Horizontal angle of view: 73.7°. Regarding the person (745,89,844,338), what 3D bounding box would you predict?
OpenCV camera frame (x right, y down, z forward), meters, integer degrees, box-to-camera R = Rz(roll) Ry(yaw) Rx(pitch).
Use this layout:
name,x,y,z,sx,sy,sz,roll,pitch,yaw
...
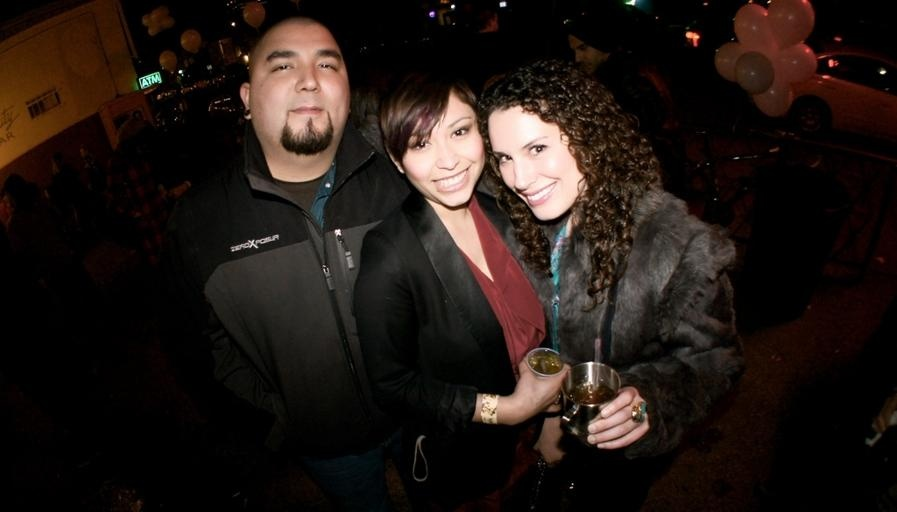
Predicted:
name,x,y,z,sx,sy,sz,roll,pitch,yaw
person,5.034,-0.112,8.827,1.203,2.513,0.593,6,21,17

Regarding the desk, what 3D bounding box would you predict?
name,x,y,z,sx,sy,sz,roll,pitch,yaw
desk,-5.081,-3.187,12.260,2.519,0.833,1.966,13,28,43

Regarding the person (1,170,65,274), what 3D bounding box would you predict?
name,x,y,z,sx,sy,sz,roll,pitch,yaw
person,-6.385,-0.490,9.156,0.585,1.509,0.634,18,27,41
